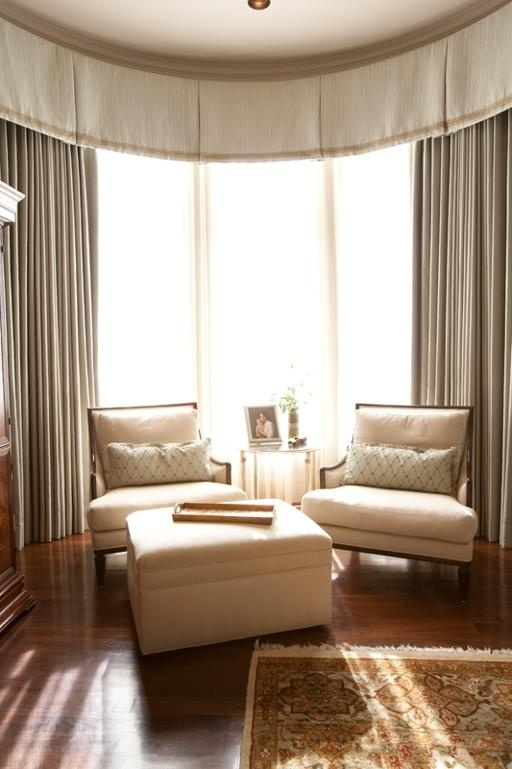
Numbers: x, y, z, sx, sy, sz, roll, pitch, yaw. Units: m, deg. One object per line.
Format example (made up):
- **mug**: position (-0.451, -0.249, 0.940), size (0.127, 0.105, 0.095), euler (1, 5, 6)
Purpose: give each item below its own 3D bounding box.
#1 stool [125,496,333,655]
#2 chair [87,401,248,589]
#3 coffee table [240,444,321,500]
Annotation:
- **stool**: position (-0.120, 0.770, 2.417), size (0.634, 0.358, 0.476), euler (0, -1, -20)
- **chair**: position (-0.524, 0.534, 3.589), size (0.859, 0.910, 0.852), euler (-1, 0, -14)
- **coffee table**: position (0.183, 0.684, 4.489), size (0.492, 0.558, 0.503), euler (0, 0, -12)
